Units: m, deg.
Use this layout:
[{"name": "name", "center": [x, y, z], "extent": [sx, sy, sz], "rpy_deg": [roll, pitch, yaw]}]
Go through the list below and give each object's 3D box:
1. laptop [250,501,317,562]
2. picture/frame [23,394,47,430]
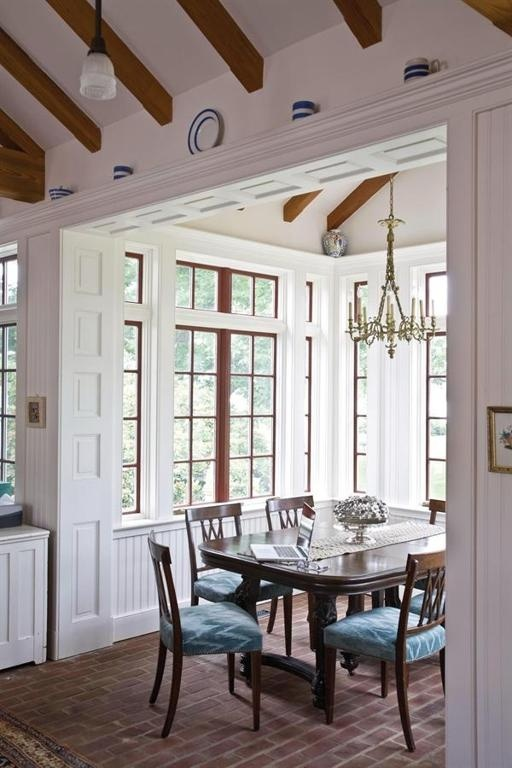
[{"name": "laptop", "center": [0.164, 0.801, 3.506], "extent": [0.261, 0.224, 0.307], "rpy_deg": [1, -2, -3]}, {"name": "picture/frame", "center": [-1.481, 0.182, 4.292], "extent": [0.025, 0.240, 0.242], "rpy_deg": [2, -4, -41]}]
